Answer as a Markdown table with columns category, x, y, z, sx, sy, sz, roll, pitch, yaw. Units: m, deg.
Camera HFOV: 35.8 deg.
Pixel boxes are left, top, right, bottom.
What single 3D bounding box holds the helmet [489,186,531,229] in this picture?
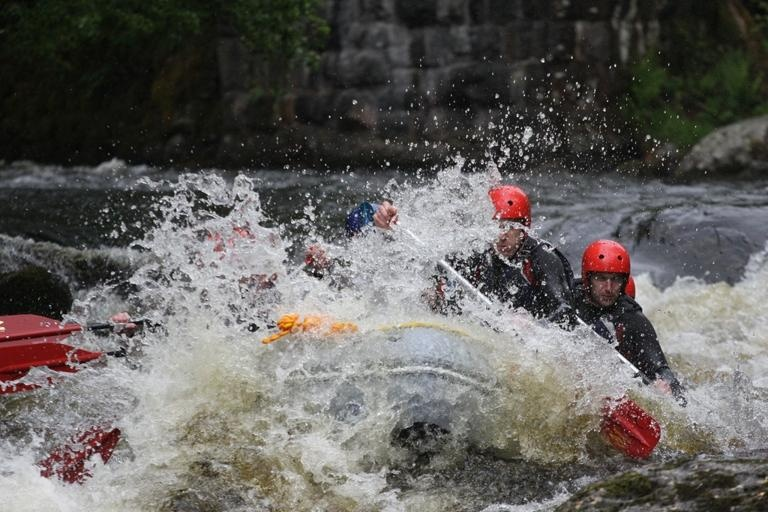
| category | x | y | z | sx | sy | sz | roll | pitch | yaw |
| --- | --- | --- | --- | --- | --- | --- | --- | --- | --- |
| helmet | 1.692 | -0.705 | 16.459 | 0.431 | 0.530 | 0.588 | 3 | 19 | -7 |

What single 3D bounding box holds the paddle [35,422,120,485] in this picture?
| category | x | y | z | sx | sy | sz | roll | pitch | yaw |
| --- | --- | --- | --- | --- | --- | --- | --- | --- | --- |
| paddle | -3.913 | 2.585 | 15.090 | 0.849 | 0.367 | 1.380 | 2 | 15 | 28 |
